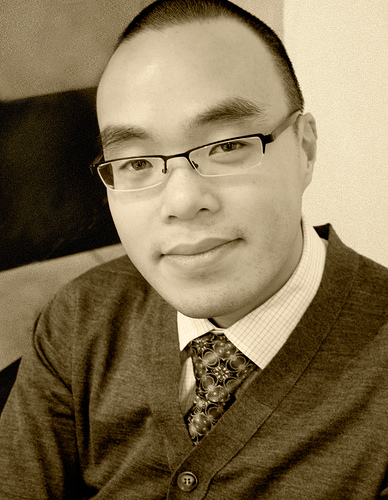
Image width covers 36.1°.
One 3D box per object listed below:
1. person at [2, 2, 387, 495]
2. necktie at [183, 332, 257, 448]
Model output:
[{"bbox_3d":[-0.048,0.026,1.276,0.875,1.071,0.448,-5,11,14],"label":"person"},{"bbox_3d":[0.044,0.280,1.215,0.164,0.202,0.051,-10,-42,38],"label":"necktie"}]
